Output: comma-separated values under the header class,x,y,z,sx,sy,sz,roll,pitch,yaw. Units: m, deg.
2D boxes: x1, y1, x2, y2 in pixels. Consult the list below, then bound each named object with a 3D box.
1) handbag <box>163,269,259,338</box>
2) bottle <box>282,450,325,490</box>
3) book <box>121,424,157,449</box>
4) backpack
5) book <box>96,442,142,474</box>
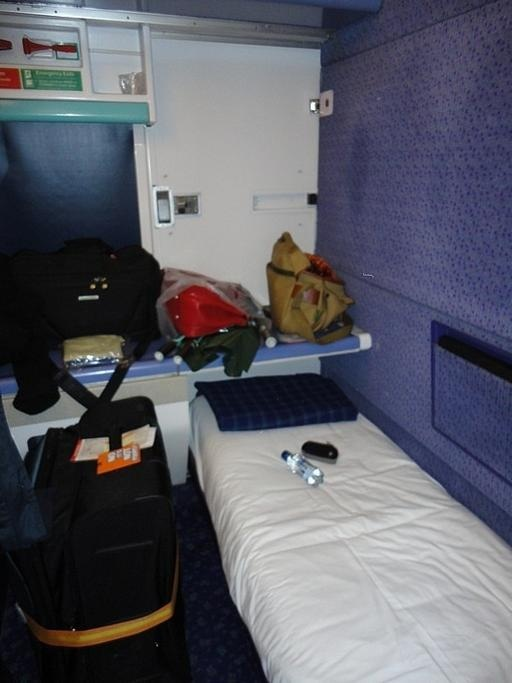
class,x,y,z,sx,sy,sz,roll,pitch,yaw
handbag,-0.197,-0.172,2.061,0.349,0.168,0.282,-2,32,-22
bottle,0.184,0.405,1.680,0.079,0.086,0.241,-9,13,-24
book,-0.386,0.308,1.644,0.080,0.025,0.061,-10,28,-3
backpack,-0.458,0.528,1.451,0.401,0.396,0.572,10,22,-29
book,-0.417,0.359,1.544,0.113,0.016,0.069,-15,19,-11
